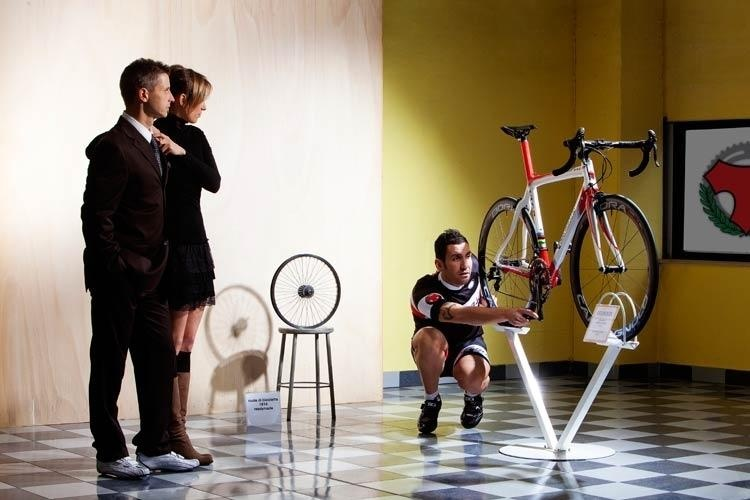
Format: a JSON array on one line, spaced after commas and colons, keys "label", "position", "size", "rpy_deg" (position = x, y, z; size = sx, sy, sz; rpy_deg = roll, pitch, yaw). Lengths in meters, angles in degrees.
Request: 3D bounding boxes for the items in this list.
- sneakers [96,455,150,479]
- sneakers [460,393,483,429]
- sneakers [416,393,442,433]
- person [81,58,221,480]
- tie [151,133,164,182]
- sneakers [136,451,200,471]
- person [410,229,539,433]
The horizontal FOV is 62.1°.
[{"label": "sneakers", "position": [-1.396, 1.213, 3.522], "size": [0.309, 0.148, 0.118], "rpy_deg": [3, -3, -4]}, {"label": "sneakers", "position": [0.759, 1.232, 4.777], "size": [0.136, 0.265, 0.265], "rpy_deg": [-3, -11, 18]}, {"label": "sneakers", "position": [0.396, 1.215, 4.568], "size": [0.118, 0.152, 0.332], "rpy_deg": [-2, 3, 13]}, {"label": "person", "position": [-1.337, 0.105, 3.476], "size": [0.558, 2.339, 0.314], "rpy_deg": [2, -3, -30]}, {"label": "tie", "position": [-1.219, -0.531, 3.496], "size": [0.045, 0.193, 0.138], "rpy_deg": [-7, -7, 4]}, {"label": "sneakers", "position": [-1.185, 1.211, 3.600], "size": [0.351, 0.143, 0.119], "rpy_deg": [4, -4, -17]}, {"label": "person", "position": [0.594, 0.600, 4.516], "size": [0.663, 1.484, 1.156], "rpy_deg": [0, -2, 3]}]
